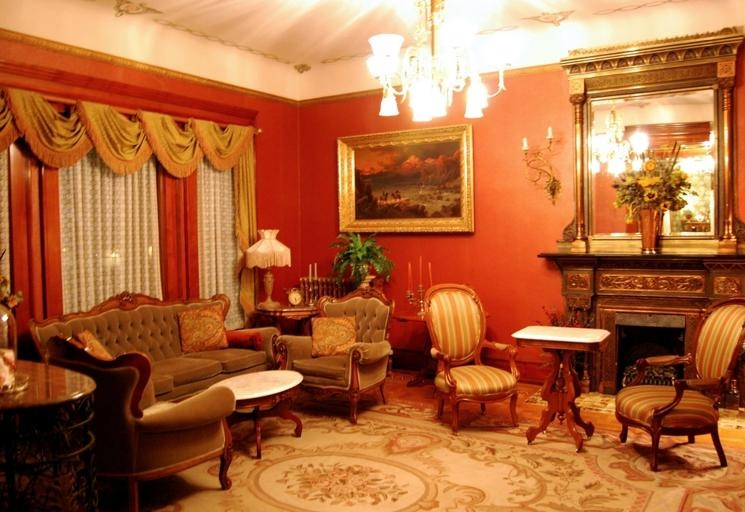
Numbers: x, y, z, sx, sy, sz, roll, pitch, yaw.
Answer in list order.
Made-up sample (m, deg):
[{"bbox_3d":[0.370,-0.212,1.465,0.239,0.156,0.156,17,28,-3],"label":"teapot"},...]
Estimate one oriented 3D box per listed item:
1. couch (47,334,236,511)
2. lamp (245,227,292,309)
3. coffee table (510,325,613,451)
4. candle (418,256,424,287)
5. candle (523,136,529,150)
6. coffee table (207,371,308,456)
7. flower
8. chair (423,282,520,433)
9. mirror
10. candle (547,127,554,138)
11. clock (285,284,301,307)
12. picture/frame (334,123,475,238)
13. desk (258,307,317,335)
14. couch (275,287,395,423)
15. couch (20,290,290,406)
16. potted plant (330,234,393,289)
[{"bbox_3d":[-2.040,1.294,5.341,1.587,1.799,1.524,1,3,38],"label":"couch"},{"bbox_3d":[-1.510,0.198,8.108,0.705,1.092,0.724,-2,-3,21],"label":"lamp"},{"bbox_3d":[2.008,1.384,5.854,1.115,1.098,1.035,2,-2,-17],"label":"coffee table"},{"bbox_3d":[0.751,0.229,8.454,0.063,0.438,0.097,-1,9,0],"label":"candle"},{"bbox_3d":[2.094,-1.516,7.528,0.090,0.182,0.316,1,8,15],"label":"candle"},{"bbox_3d":[-1.182,1.659,5.889,0.864,0.580,0.812,-6,2,20],"label":"coffee table"},{"bbox_3d":[3.534,-0.848,6.972,0.937,0.711,0.328,3,10,29],"label":"flower"},{"bbox_3d":[1.141,1.169,6.466,0.993,1.513,1.105,-3,3,-25],"label":"chair"},{"bbox_3d":[3.629,-1.180,7.018,1.980,2.356,0.096,-1,-4,24],"label":"mirror"},{"bbox_3d":[2.397,-1.640,7.448,0.085,0.164,0.199,1,9,16],"label":"candle"},{"bbox_3d":[-1.154,0.619,8.294,0.302,0.291,0.228,-4,-4,34],"label":"clock"},{"bbox_3d":[0.474,-1.126,8.533,2.207,1.599,0.063,0,3,22],"label":"picture/frame"},{"bbox_3d":[-1.260,0.916,8.232,0.631,0.626,0.622,0,-2,-13],"label":"desk"},{"bbox_3d":[-0.286,1.093,7.208,1.642,1.816,1.433,0,-3,33],"label":"couch"},{"bbox_3d":[-2.448,1.171,6.500,1.252,1.297,2.918,3,3,25],"label":"couch"},{"bbox_3d":[-0.152,0.031,8.501,0.855,0.599,0.836,-4,6,-44],"label":"potted plant"}]
